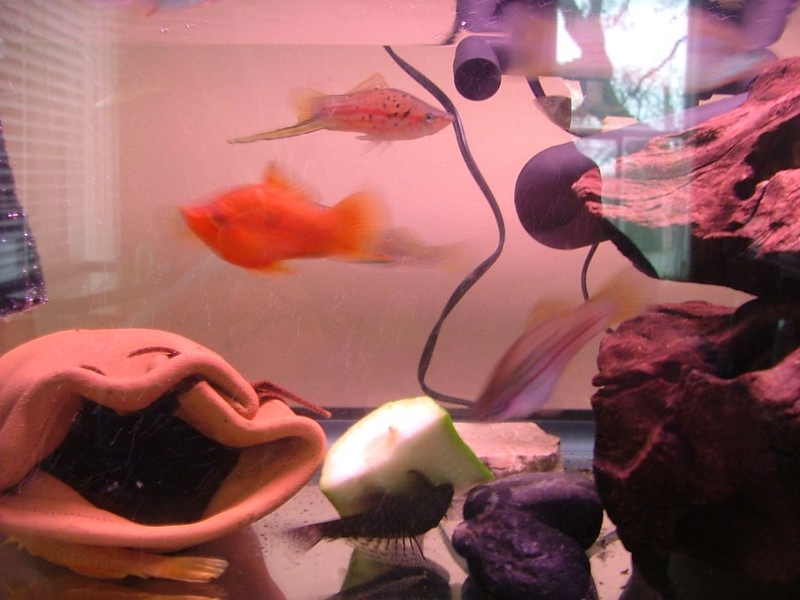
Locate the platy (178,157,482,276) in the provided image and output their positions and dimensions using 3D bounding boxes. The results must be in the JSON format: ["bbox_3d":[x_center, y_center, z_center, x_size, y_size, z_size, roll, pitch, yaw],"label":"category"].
[{"bbox_3d":[-0.122,-0.106,0.942,0.385,0.158,0.075,10,43,-22],"label":"platy"}]

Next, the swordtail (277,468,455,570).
[{"bbox_3d":[-0.043,0.297,0.897,0.233,0.106,0.041,-6,13,-1],"label":"swordtail"}]

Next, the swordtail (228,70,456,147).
[{"bbox_3d":[-0.077,-0.256,0.924,0.291,0.109,0.052,2,-14,-13],"label":"swordtail"}]
